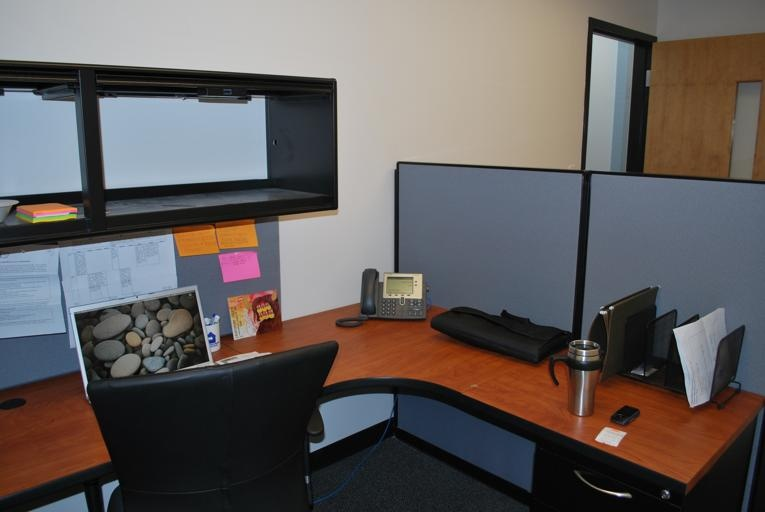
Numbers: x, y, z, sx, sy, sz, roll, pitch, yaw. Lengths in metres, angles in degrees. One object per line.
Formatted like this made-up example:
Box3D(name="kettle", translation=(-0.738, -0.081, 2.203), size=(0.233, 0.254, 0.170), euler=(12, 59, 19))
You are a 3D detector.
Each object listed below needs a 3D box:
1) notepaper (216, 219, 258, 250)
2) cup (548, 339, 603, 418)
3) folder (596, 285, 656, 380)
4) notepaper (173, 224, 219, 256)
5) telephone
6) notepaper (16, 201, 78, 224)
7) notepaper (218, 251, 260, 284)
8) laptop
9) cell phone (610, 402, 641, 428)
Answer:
Box3D(name="notepaper", translation=(-0.725, -0.106, 2.540), size=(0.139, 0.100, 0.007), euler=(-13, 20, -40))
Box3D(name="cup", translation=(0.751, 0.462, 2.021), size=(0.280, 0.352, 0.193), euler=(-2, 8, 6))
Box3D(name="folder", translation=(0.987, 0.340, 2.156), size=(0.150, 0.362, 0.307), euler=(12, 12, 39))
Box3D(name="notepaper", translation=(-0.921, -0.086, 2.533), size=(0.177, 0.139, 0.046), euler=(-12, 17, -25))
Box3D(name="telephone", translation=(-0.045, 0.184, 2.889), size=(0.474, 0.291, 0.427), euler=(3, 12, -19))
Box3D(name="notepaper", translation=(-1.280, -0.162, 1.966), size=(0.261, 0.051, 0.185), euler=(3, 15, 21))
Box3D(name="notepaper", translation=(-0.729, 0.056, 2.591), size=(0.143, 0.115, 0.007), euler=(-16, 19, -36))
Box3D(name="laptop", translation=(-1.003, 0.331, 2.132), size=(0.126, 0.452, 0.613), euler=(13, 16, 40))
Box3D(name="cell phone", translation=(0.921, 0.603, 1.969), size=(0.111, 0.033, 0.056), euler=(-11, 16, -42))
